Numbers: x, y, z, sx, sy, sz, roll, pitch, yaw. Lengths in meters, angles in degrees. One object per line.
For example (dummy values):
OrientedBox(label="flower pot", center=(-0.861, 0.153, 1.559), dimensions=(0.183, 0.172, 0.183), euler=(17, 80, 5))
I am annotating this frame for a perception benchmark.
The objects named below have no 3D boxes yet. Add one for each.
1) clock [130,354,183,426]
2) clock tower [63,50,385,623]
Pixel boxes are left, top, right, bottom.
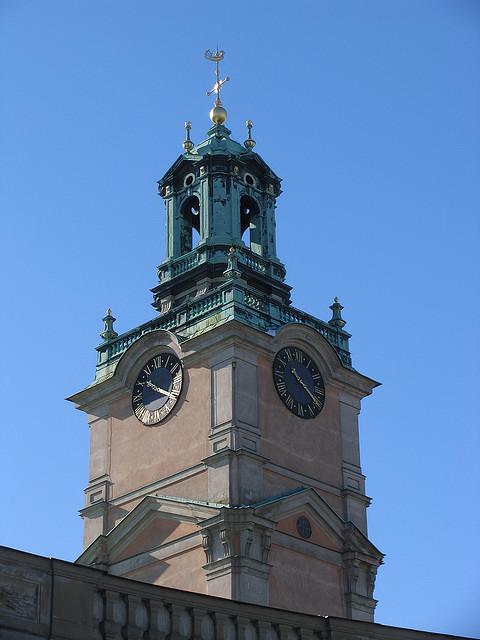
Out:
OrientedBox(label="clock", center=(-2.279, 1.769, 54.448), dimensions=(1.840, 2.026, 0.124), euler=(-17, -32, 39))
OrientedBox(label="clock tower", center=(-0.664, 2.048, 56.076), dimensions=(8.329, 17.665, 8.399), euler=(1, -26, -8))
